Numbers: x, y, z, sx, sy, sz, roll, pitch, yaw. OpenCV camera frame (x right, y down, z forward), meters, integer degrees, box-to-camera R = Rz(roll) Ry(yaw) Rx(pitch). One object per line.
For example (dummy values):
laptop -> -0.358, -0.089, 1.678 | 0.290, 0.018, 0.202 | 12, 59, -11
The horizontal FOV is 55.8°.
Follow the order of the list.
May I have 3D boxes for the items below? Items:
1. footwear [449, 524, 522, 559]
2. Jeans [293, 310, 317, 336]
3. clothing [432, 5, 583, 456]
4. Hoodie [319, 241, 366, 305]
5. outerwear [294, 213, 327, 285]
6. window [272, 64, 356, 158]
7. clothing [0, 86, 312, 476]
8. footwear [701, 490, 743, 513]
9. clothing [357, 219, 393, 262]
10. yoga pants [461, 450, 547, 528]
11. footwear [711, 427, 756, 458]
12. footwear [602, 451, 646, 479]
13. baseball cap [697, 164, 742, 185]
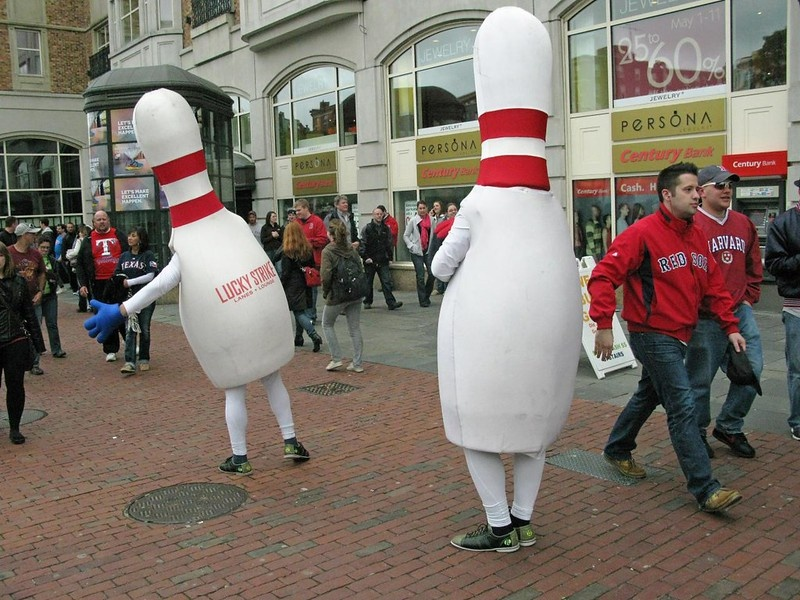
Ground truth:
footwear -> 0.580, 1.614, 5.071 | 0.481, 0.188, 0.172 | 0, -6, 13
Jeans -> -1.432, 0.357, 11.281 | 0.145, 0.406, 0.380 | -8, 11, -34
clothing -> 0.701, -0.407, 4.852 | 0.961, 2.867, 0.548 | -7, 11, -22
Hoodie -> -0.717, -0.310, 9.448 | 0.548, 0.744, 0.455 | -4, 10, -5
outerwear -> -1.620, -0.746, 13.046 | 0.638, 1.545, 0.479 | 3, 26, 3
window -> -2.245, -5.002, 19.864 | 3.478, 2.328, 0.157 | 1, 6, 42
clothing -> -1.605, -0.110, 6.309 | 1.375, 3.236, 0.593 | -1, 10, 9
footwear -> 2.241, 1.416, 5.326 | 0.129, 0.145, 0.293 | -24, -7, -40
clothing -> -0.463, -1.138, 14.666 | 0.675, 0.870, 0.443 | -6, 23, -18
yoga pants -> 0.697, 1.237, 5.007 | 0.487, 0.573, 0.258 | -7, 11, -22
footwear -> 2.820, 1.208, 6.322 | 0.148, 0.184, 0.367 | -14, 22, -33
footwear -> 1.825, 1.350, 6.095 | 0.330, 0.145, 0.139 | 25, 23, 29
baseball cap -> 2.633, -1.018, 6.347 | 0.266, 0.204, 0.389 | -1, 4, -32
